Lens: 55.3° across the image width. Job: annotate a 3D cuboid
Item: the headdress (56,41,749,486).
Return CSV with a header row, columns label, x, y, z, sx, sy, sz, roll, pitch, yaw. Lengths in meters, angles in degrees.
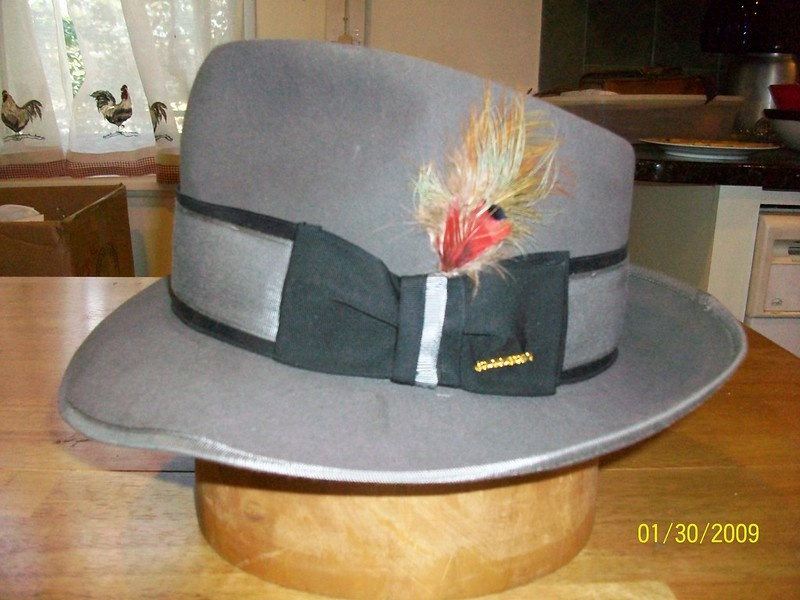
label,x,y,z,sx,sy,sz,roll,pitch,yaw
headdress,-0.018,0.004,0.970,0.672,0.332,0.602,-2,19,-7
